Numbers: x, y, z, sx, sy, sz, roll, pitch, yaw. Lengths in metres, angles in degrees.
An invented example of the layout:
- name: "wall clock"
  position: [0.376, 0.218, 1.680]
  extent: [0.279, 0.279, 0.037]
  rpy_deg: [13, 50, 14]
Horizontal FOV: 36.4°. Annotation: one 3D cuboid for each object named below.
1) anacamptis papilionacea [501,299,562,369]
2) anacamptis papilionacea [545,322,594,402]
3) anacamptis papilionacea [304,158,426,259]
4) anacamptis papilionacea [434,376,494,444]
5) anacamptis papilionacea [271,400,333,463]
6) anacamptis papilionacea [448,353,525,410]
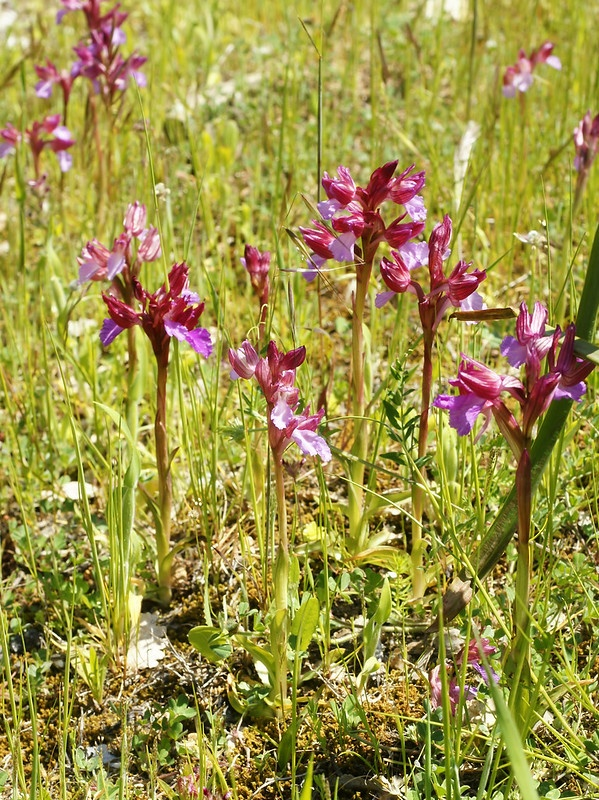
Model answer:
- name: "anacamptis papilionacea"
  position: [0.389, -0.117, 1.562]
  extent: [0.070, 0.125, 0.040]
  rpy_deg: [0, 16, -22]
- name: "anacamptis papilionacea"
  position: [0.442, -0.073, 1.555]
  extent: [0.079, 0.136, 0.109]
  rpy_deg: [9, 17, 30]
- name: "anacamptis papilionacea"
  position: [0.141, -0.388, 1.885]
  extent: [0.180, 0.227, 0.168]
  rpy_deg: [-11, 52, 5]
- name: "anacamptis papilionacea"
  position: [0.280, 0.025, 1.562]
  extent: [0.072, 0.040, 0.098]
  rpy_deg: [-16, 56, 10]
- name: "anacamptis papilionacea"
  position: [0.002, 0.066, 1.655]
  extent: [0.093, 0.108, 0.102]
  rpy_deg: [-8, 30, -17]
- name: "anacamptis papilionacea"
  position: [0.309, -0.035, 1.506]
  extent: [0.123, 0.084, 0.105]
  rpy_deg: [17, 25, 29]
